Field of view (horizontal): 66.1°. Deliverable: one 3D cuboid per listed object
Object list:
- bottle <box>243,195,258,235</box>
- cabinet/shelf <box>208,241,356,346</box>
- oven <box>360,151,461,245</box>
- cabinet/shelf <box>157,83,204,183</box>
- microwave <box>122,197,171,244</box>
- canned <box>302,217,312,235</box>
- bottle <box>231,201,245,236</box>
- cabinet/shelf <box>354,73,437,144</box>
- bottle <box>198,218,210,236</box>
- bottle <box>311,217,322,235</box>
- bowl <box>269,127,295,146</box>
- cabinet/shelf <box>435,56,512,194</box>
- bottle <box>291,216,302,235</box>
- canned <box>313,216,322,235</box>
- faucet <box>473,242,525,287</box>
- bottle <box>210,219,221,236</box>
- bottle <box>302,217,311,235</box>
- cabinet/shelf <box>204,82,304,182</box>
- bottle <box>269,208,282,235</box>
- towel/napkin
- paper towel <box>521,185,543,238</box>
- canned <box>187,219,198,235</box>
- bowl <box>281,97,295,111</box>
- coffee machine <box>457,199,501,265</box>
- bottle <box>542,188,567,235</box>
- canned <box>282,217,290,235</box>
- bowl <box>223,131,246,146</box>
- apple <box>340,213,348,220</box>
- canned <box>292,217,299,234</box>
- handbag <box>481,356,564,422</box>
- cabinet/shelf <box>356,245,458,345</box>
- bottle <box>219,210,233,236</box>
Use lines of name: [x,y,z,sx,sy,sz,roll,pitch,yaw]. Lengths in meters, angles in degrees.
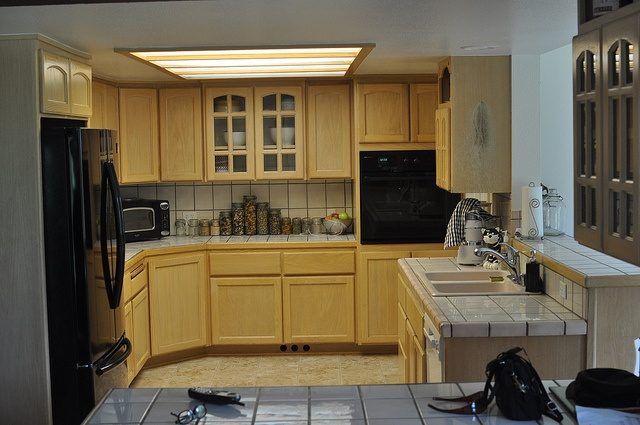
bottle: [-0.774,0.030,5.422,0.153,0.409,0.126,-3,10,-8]
cabinet/shelf: [-0.475,0.872,5.411,1.564,0.953,0.794,1,-5,-11]
oven: [0.781,-0.122,5.340,1.326,1.188,0.865,-1,1,0]
cabinet/shelf: [-1.470,-0.818,5.157,0.455,0.959,0.182,-1,10,7]
microwave: [-1.814,0.050,5.110,0.408,0.479,0.673,2,5,37]
canned: [-0.152,0.150,5.418,0.148,0.229,0.145,0,-2,-9]
bottle: [-0.922,0.076,5.474,0.143,0.353,0.153,-1,1,0]
cabinet/shelf: [0.740,-1.056,4.952,0.785,0.525,0.273,-1,1,0]
bottle: [-1.278,0.170,5.389,0.151,0.213,0.146,0,-1,0]
bottle: [-0.057,0.158,5.402,0.156,0.223,0.153,0,0,0]
bowl: [-0.400,-0.792,5.214,0.218,0.147,0.213,-1,4,0]
cabinet/shelf: [1.317,-0.720,4.047,0.513,1.111,0.172,-2,10,1]
bottle: [-0.264,0.152,5.395,0.156,0.245,0.153,0,0,0]
canned: [-0.045,0.156,5.379,0.142,0.217,0.149,0,0,-4]
faucet: [1.336,0.354,3.640,0.396,0.250,0.155,12,13,30]
bottle: [-1.158,0.169,5.476,0.143,0.216,0.140,0,4,0]
bottle: [-0.153,0.149,5.419,0.148,0.227,0.145,0,-1,0]
cabinet/shelf: [-0.692,-0.886,5.153,1.042,0.920,0.326,1,2,-2]
bottle: [-0.504,0.101,5.447,0.150,0.259,0.145,-2,10,0]
towel/napkin: [1.209,0.050,3.995,0.416,0.567,0.425,2,3,22]
paper towel: [1.627,0.004,3.763,0.154,0.411,0.108,2,11,21]
canned: [-1.417,0.170,5.433,0.164,0.204,0.148,-1,-3,-2]
bowl: [-0.340,-1.143,5.141,0.137,0.124,0.072,1,7,1]
coffee machine: [1.265,0.193,4.018,0.460,0.551,0.356,-3,5,1]
bottle: [1.880,0.011,3.902,0.231,0.332,0.107,-6,11,-22]
canned: [-0.381,0.153,5.399,0.108,0.165,0.074,-2,10,-1]
bowl: [-0.904,-0.777,5.179,0.175,0.107,0.171,-2,3,0]
apple: [0.252,0.049,5.425,0.073,0.085,0.072,-16,40,31]
canned: [-0.264,0.151,5.396,0.096,0.164,0.069,-2,10,-3]
handbag: [0.815,0.724,2.083,0.277,0.253,0.252,-5,-6,0]
cabinet/shelf: [1.022,0.879,5.073,1.165,1.048,0.647,-6,-13,31]
bottle: [-1.052,0.117,5.458,0.143,0.236,0.231,-3,10,-7]
